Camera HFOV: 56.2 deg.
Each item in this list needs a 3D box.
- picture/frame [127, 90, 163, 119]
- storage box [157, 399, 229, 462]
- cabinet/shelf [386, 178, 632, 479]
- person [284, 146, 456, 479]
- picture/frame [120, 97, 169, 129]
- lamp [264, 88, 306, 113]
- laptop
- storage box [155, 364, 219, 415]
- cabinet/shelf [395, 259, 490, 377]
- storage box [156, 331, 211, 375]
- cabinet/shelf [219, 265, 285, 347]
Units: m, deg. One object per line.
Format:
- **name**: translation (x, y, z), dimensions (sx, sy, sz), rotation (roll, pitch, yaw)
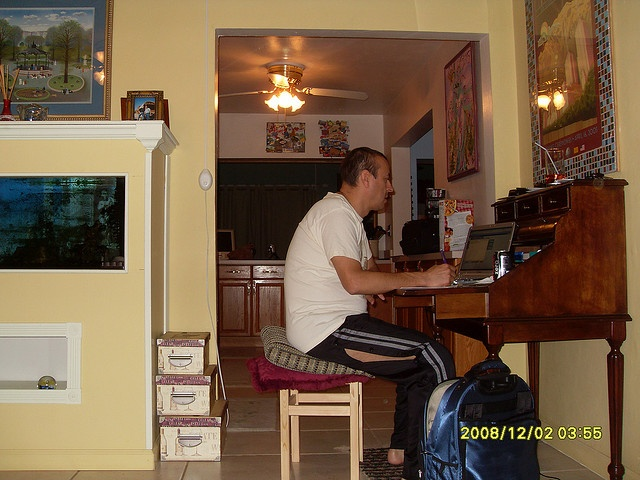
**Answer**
- **picture/frame**: translation (-1.132, -0.865, 3.854), dimensions (0.203, 0.209, 0.021), rotation (-1, -25, -4)
- **storage box**: translation (-0.741, 1.088, 3.461), dimensions (0.288, 0.180, 0.291), rotation (1, -3, -2)
- **cabinet/shelf**: translation (1.098, 0.291, 3.856), dimensions (1.317, 1.769, 1.831), rotation (1, -4, -1)
- **person**: translation (0.247, 0.341, 3.074), dimensions (0.908, 1.641, 0.445), rotation (2, 5, 28)
- **picture/frame**: translation (-1.095, -0.791, 3.730), dimensions (0.292, 0.348, 0.045), rotation (0, -2, -5)
- **lamp**: translation (-0.360, -1.372, 5.854), dimensions (0.320, 0.169, 0.436), rotation (-1, 5, -9)
- **laptop**: translation (0.979, 0.059, 3.590), dimensions (0.340, 0.239, 0.386), rotation (-12, 2, -19)
- **storage box**: translation (-0.780, 0.866, 3.487), dimensions (0.224, 0.157, 0.298), rotation (1, -3, 0)
- **cabinet/shelf**: translation (0.826, 0.605, 4.312), dimensions (0.628, 1.138, 1.179), rotation (1, -2, 3)
- **storage box**: translation (-0.818, 0.656, 3.548), dimensions (0.222, 0.141, 0.228), rotation (0, 1, -1)
- **cabinet/shelf**: translation (-0.766, 0.677, 6.302), dimensions (0.947, 0.933, 0.549), rotation (0, -2, -3)
